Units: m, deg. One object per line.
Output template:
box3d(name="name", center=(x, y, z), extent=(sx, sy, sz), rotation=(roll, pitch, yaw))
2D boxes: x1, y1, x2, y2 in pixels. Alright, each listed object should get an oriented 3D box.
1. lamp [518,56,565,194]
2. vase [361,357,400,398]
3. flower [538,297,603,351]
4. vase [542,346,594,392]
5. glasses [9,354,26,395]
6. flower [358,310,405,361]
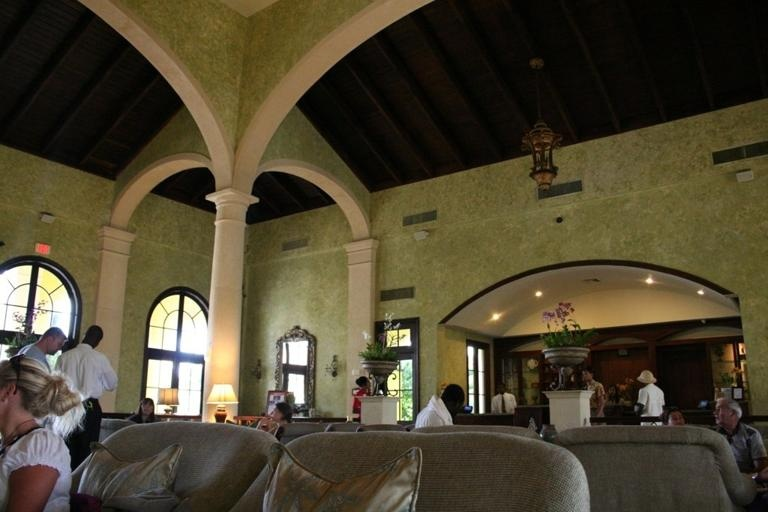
box3d(name="lamp", center=(2.500, -2.018, 9.087), extent=(0.531, 2.396, 1.929), rotation=(-4, -17, 15))
box3d(name="vase", center=(-0.064, 1.775, 8.292), extent=(0.590, 0.464, 0.607), rotation=(-1, -28, 3))
box3d(name="flower", center=(2.387, 1.010, 7.458), extent=(0.652, 0.731, 0.474), rotation=(-21, 1, 12))
box3d(name="vase", center=(2.350, 1.469, 7.332), extent=(0.649, 0.480, 0.631), rotation=(1, -10, -40))
box3d(name="glasses", center=(-2.002, 0.653, 3.097), extent=(0.046, 0.174, 0.107), rotation=(2, 2, 5))
box3d(name="flower", center=(-0.024, 1.544, 10.774), extent=(0.778, 0.872, 0.625), rotation=(-10, -23, 37))
